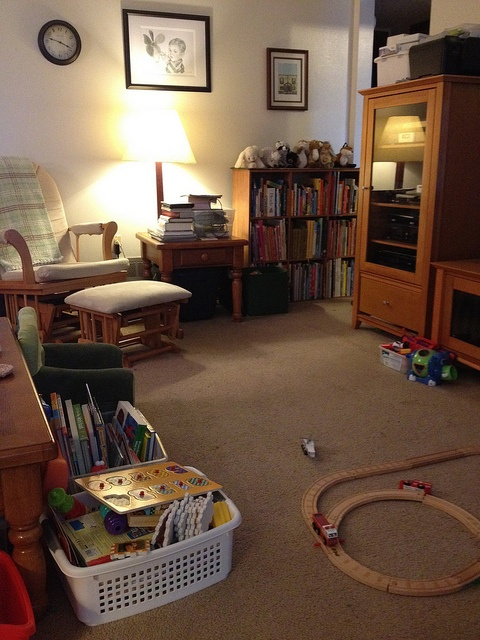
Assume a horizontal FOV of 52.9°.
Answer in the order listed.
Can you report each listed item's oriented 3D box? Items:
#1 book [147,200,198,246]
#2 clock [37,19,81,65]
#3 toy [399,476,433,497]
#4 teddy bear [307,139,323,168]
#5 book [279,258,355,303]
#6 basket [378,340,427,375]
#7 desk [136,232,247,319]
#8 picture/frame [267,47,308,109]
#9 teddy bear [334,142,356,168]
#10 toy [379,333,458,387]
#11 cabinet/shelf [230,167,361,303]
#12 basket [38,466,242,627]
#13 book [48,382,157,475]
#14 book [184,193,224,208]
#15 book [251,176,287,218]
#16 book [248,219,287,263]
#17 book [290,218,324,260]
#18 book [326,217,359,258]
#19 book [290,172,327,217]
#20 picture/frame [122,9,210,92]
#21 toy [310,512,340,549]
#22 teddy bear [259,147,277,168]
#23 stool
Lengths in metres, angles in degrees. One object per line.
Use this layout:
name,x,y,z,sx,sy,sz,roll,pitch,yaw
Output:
book,-0.455,-0.633,3.252,0.259,0.243,0.372,-5,17,-27
clock,-1.206,-1.838,3.197,0.266,0.264,0.064,-3,13,-36
toy,0.531,0.499,1.453,0.100,0.037,0.077,-1,16,11
teddy bear,0.599,-1.317,3.819,0.146,0.200,0.087,-7,16,-9
book,0.599,-0.333,3.910,0.355,0.342,0.114,-6,10,-23
basket,0.836,0.188,2.537,0.195,0.088,0.141,-7,15,-30
desk,-0.341,-0.421,3.385,0.658,0.558,0.635,-5,15,-23
picture/frame,0.363,-1.945,3.844,0.456,0.549,0.037,-8,17,-30
teddy bear,0.850,-1.335,3.897,0.201,0.276,0.160,-1,16,11
toy,0.891,0.210,2.454,0.209,0.116,0.322,-13,24,-15
cabinet/shelf,0.399,-0.687,3.738,1.042,0.995,0.332,-5,10,-27
basket,-0.195,0.469,1.010,0.278,0.102,0.218,-12,24,-32
book,-0.400,0.329,1.413,0.274,0.124,0.271,-6,25,-27
book,-0.250,-0.832,3.350,0.159,0.053,0.155,-16,25,-38
book,0.224,-0.935,3.701,0.305,0.288,0.129,-6,15,-6
book,0.223,-0.645,3.885,0.333,0.422,0.307,-5,10,-21
book,0.509,-0.644,3.968,0.296,0.378,0.391,-2,10,-4
book,0.800,-0.694,4.066,0.273,0.375,0.365,-2,18,-5
book,0.556,-0.977,3.843,0.223,0.289,0.305,4,17,27
picture/frame,-0.557,-1.954,3.460,0.630,0.495,0.040,-7,24,-18
toy,0.220,0.531,1.218,0.031,0.032,0.082,-5,17,-12
teddy bear,0.222,-1.226,3.633,0.132,0.160,0.118,2,5,-33
stool,-0.610,-0.050,2.671,0.513,0.451,0.643,14,20,42
